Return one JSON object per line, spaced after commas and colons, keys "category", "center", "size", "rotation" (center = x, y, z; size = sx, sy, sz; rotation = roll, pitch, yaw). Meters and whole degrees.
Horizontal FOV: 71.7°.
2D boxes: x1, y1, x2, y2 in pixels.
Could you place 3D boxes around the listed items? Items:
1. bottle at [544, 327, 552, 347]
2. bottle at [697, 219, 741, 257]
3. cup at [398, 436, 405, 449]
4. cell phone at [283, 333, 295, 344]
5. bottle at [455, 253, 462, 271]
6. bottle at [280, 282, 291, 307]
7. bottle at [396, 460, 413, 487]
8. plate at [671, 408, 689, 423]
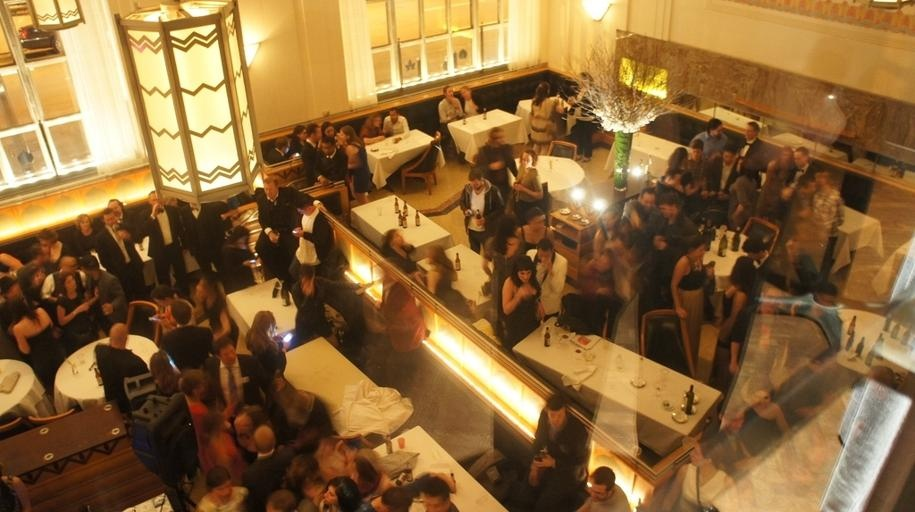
{"category": "bottle", "center": [1.194, 1.091, 8.415], "size": [0.084, 0.246, 0.082], "rotation": [-3, 43, 3]}
{"category": "bottle", "center": [3.891, -0.235, 9.462], "size": [0.355, 0.347, 0.352], "rotation": [-35, 45, -10]}
{"category": "cup", "center": [-0.688, 2.310, 7.796], "size": [0.102, 0.093, 0.099], "rotation": [-1, 26, 0]}
{"category": "cell phone", "center": [-2.359, 1.159, 8.883], "size": [0.121, 0.115, 0.204], "rotation": [11, 2, -11]}
{"category": "bottle", "center": [0.013, 0.111, 9.625], "size": [0.101, 0.270, 0.099], "rotation": [-2, 39, 1]}
{"category": "bottle", "center": [-2.500, 0.592, 9.310], "size": [0.119, 0.368, 0.136], "rotation": [-8, -15, -6]}
{"category": "bottle", "center": [-0.609, 2.625, 7.605], "size": [0.115, 0.182, 0.194], "rotation": [22, 47, 23]}
{"category": "plate", "center": [2.704, 1.956, 7.715], "size": [0.212, 0.101, 0.132], "rotation": [2, 27, 8]}
